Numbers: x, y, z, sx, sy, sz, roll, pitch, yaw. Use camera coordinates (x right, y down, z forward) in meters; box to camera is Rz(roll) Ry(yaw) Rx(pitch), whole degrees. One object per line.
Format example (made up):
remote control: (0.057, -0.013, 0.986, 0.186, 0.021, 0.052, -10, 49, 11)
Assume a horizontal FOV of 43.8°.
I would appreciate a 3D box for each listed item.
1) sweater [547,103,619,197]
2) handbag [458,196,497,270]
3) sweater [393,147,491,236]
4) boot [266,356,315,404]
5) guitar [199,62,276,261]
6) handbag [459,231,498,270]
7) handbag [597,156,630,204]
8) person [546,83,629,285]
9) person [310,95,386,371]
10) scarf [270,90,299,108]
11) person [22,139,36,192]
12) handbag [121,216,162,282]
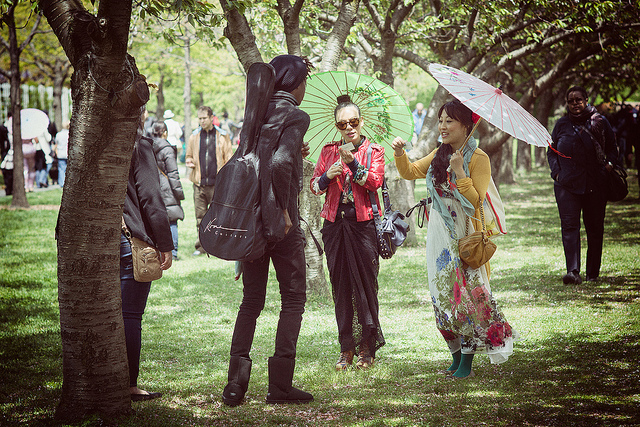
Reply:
sweater: (4.472, -1.142, 13.671, 1.317, 1.439, 0.819, -1, 9, 29)
handbag: (1.949, 0.257, 10.087, 0.440, 0.877, 0.323, -3, 15, -7)
sweater: (1.656, -0.551, 10.303, 0.933, 1.335, 1.523, 10, 25, 28)
boot: (-0.374, 2.066, 9.812, 0.705, 0.571, 0.291, 9, -12, -35)
guitar: (-0.935, -0.560, 9.471, 0.739, 2.361, 1.024, 8, 17, 29)
handbag: (1.966, 0.476, 10.099, 0.443, 0.468, 0.232, 0, 15, 3)
handbag: (4.901, -0.560, 13.427, 0.457, 0.758, 0.406, 6, 16, 23)
person: (4.426, -0.482, 13.425, 1.230, 3.218, 1.040, 3, 16, 14)
person: (0.392, 0.302, 10.643, 0.942, 3.437, 1.195, -3, 15, -8)
scarf: (-0.455, -1.398, 9.617, 0.235, 0.119, 0.245, 8, -12, 15)
person: (-9.180, -1.530, 25.220, 0.440, 1.780, 1.431, -6, 16, -19)
handbag: (-2.019, 0.432, 9.630, 0.280, 0.699, 0.500, -14, 2, 22)
